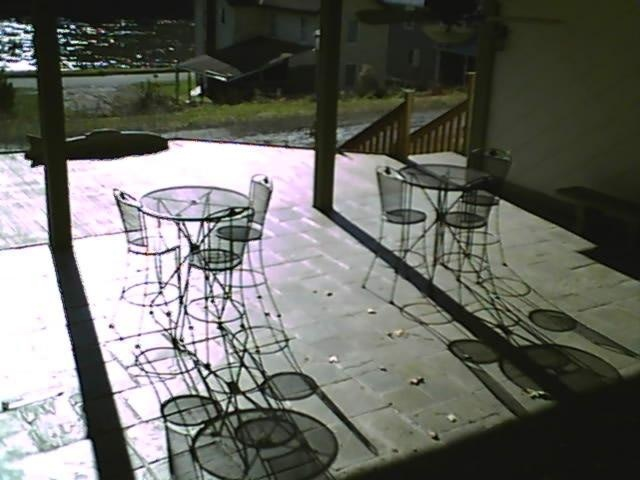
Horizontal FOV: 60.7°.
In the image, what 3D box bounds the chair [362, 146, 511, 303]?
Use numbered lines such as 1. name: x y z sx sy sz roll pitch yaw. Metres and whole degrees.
1. chair: 1.420 -0.176 6.334 1.768 1.454 1.754 10 34 19
